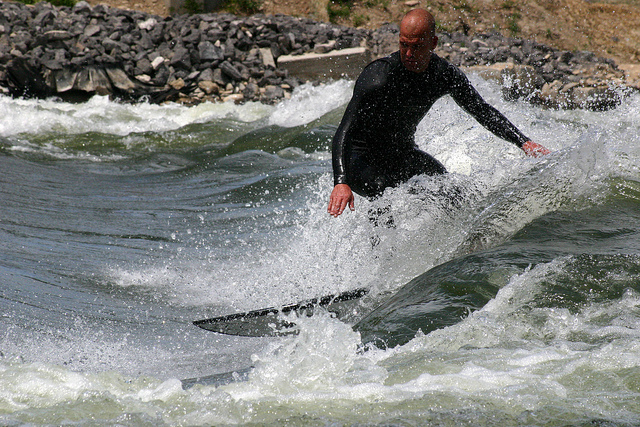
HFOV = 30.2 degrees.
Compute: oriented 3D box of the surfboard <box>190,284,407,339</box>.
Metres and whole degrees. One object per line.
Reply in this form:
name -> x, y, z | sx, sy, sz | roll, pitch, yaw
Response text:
surfboard -> -0.242, 1.346, 16.150 | 2.610, 0.197, 0.327 | -9, 50, 3
